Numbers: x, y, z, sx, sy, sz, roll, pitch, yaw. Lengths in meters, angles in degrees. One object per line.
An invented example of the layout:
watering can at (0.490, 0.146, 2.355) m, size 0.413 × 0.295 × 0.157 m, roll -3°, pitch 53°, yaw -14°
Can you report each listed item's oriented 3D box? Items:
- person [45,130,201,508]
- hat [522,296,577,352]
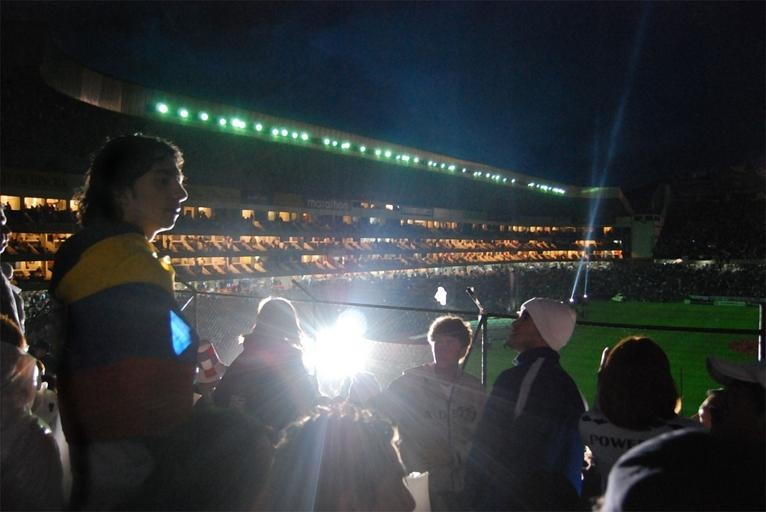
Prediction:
person at (-1.267, 0.317, 2.531) m, size 0.756 × 1.905 × 0.375 m, roll 4°, pitch 1°, yaw 16°
hat at (1.197, 0.500, 3.666) m, size 0.384 × 0.384 × 0.256 m, roll 3°, pitch 1°, yaw 5°
